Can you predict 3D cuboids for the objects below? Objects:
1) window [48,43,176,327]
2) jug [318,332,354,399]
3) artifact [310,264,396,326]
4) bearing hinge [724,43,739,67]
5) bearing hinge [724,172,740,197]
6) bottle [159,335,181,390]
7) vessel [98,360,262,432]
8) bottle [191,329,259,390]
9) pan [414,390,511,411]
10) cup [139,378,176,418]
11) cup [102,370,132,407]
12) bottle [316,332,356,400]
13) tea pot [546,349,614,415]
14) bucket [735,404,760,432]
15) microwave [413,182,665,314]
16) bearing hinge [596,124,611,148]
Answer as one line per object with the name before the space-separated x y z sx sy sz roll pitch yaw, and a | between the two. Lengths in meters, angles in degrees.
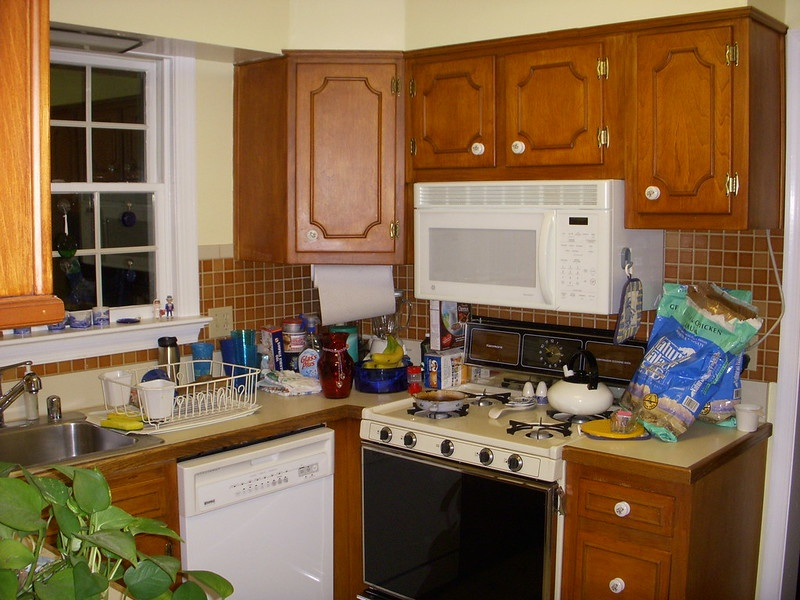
window | -1.387 -0.503 2.867 0.029 1.258 0.688 8 12 37
jug | -0.300 0.297 2.940 0.166 0.305 0.133 -1 8 -6
artifact | -0.224 -0.037 3.250 0.472 0.296 0.104 -5 9 -32
bearing hinge | 1.163 -0.858 2.205 0.043 0.076 0.014 3 8 20
bearing hinge | 1.178 -0.410 2.226 0.058 0.066 0.024 3 2 35
bottle | -1.067 0.283 2.880 0.103 0.218 0.095 0 5 0
vessel | -0.903 0.426 2.695 0.332 0.149 0.433 5 7 39
bottle | -0.802 0.280 3.072 0.359 0.364 0.224 -4 5 -30
pan | 0.218 0.435 2.715 0.237 0.063 0.162 1 -1 7
cup | -0.968 0.402 2.563 0.133 0.139 0.163 8 9 18
cup | -1.203 0.380 2.666 0.106 0.125 0.122 7 12 28
bottle | -0.302 0.308 2.970 0.180 0.304 0.180 -2 -3 0
tea pot | 0.704 0.341 2.667 0.266 0.280 0.274 1 6 0
bucket | 1.340 0.458 2.429 0.097 0.080 0.082 1 -1 10
microwave | 0.565 -0.227 2.868 0.921 0.519 0.566 4 4 35
bearing hinge | 0.798 -0.642 2.450 0.051 0.072 0.025 5 3 16
